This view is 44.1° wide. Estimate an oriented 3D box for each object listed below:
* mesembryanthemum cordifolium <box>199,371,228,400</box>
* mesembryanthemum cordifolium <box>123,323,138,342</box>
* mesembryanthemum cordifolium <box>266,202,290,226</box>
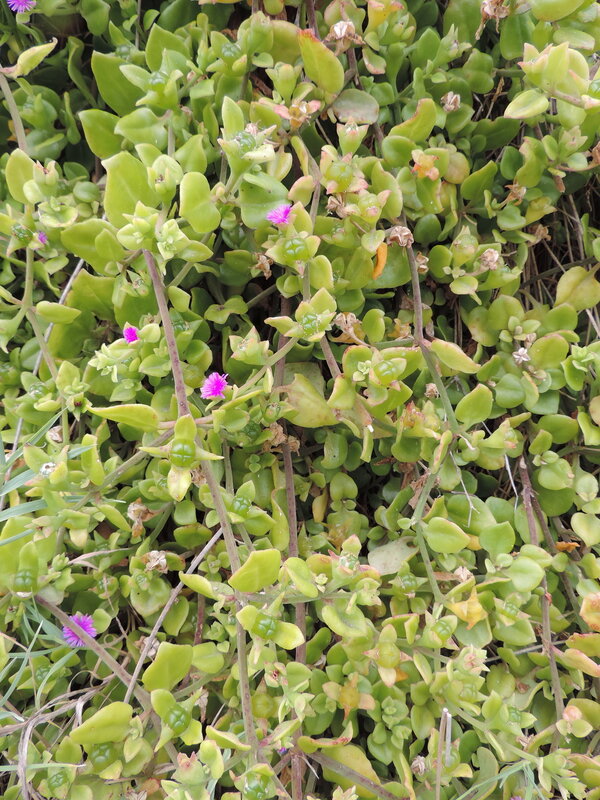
[{"bbox_3d":[-0.077,-0.015,0.717,0.029,0.013,0.025,38,99,43],"label":"mesembryanthemum cordifolium"},{"bbox_3d":[-0.155,-0.063,0.679,0.006,0.019,0.018,7,106,33],"label":"mesembryanthemum cordifolium"},{"bbox_3d":[-0.019,-0.171,0.682,0.023,0.012,0.019,-2,76,0],"label":"mesembryanthemum cordifolium"}]
